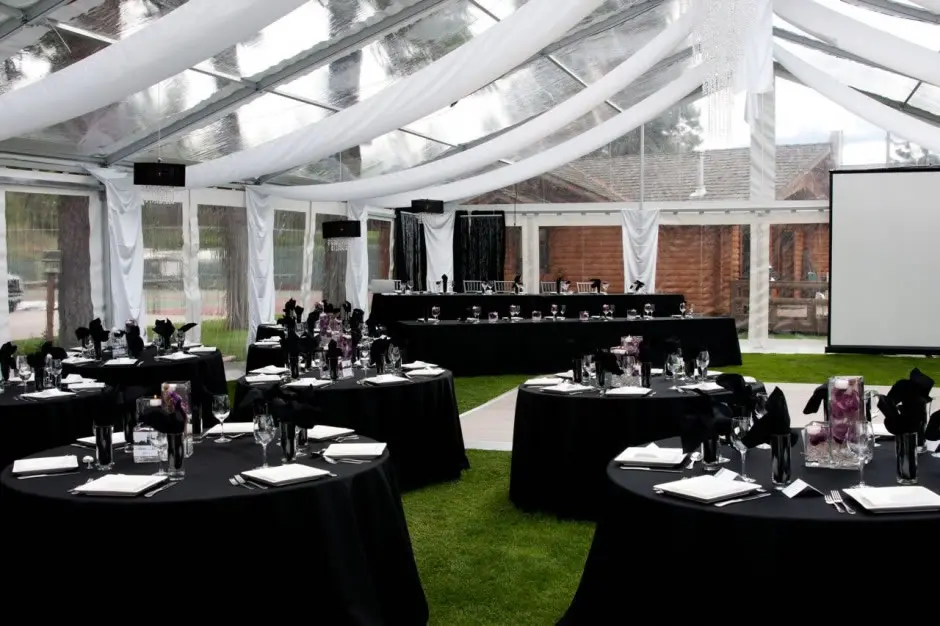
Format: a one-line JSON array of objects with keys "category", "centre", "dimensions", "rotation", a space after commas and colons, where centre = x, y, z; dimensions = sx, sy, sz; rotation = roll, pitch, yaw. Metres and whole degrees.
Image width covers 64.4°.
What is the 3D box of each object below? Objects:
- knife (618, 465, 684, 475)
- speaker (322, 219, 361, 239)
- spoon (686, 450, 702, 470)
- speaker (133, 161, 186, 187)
[{"category": "knife", "centre": [1.052, 0.880, 4.232], "dimensions": [0.327, 0.016, 0.038], "rotation": [0, 12, 15]}, {"category": "speaker", "centre": [-2.261, -1.481, 13.105], "dimensions": [0.602, 0.345, 0.299], "rotation": [2, -1, 21]}, {"category": "spoon", "centre": [1.302, 0.844, 4.309], "dimensions": [0.059, 0.036, 0.253], "rotation": [1, 13, 17]}, {"category": "speaker", "centre": [-3.667, -1.651, 8.800], "dimensions": [0.564, 0.304, 0.270], "rotation": [1, 1, -27]}]
